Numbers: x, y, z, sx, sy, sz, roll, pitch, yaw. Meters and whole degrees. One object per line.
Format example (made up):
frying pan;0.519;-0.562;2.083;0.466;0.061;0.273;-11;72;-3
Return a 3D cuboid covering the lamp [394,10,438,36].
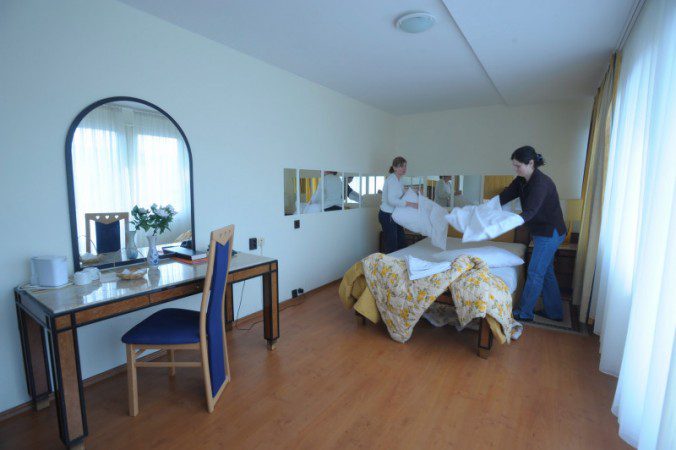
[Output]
lamp;0.702;-1.857;4.192;0.373;0.098;0.321;-1;6;8

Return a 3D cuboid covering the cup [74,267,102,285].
cup;-2.095;0.442;3.813;0.102;0.116;0.184;4;-2;12

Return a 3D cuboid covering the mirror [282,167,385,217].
mirror;-0.033;-0.473;6.196;0.054;0.591;2.104;3;8;35

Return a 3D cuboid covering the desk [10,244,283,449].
desk;-1.801;0.868;3.928;1.213;1.327;2.335;5;8;37

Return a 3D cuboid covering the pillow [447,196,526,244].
pillow;1.550;-0.040;4.842;0.537;0.176;0.550;-24;21;-2

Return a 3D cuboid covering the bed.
bed;0.853;0.768;4.609;1.667;0.898;0.442;1;7;26

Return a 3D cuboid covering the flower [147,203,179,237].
flower;-1.663;-0.040;4.344;0.233;0.246;0.232;21;-4;-19
